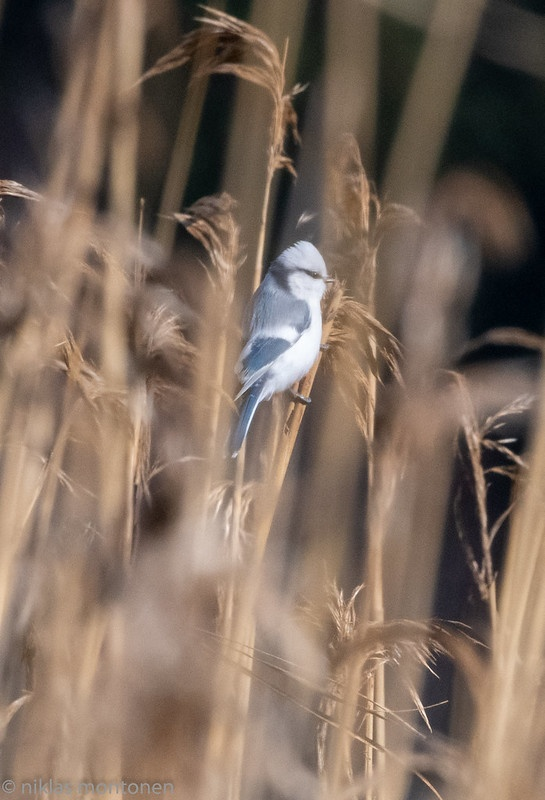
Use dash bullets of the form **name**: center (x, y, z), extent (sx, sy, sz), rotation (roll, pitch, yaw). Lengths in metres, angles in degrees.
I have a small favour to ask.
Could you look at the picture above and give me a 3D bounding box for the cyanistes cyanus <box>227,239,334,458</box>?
- **cyanistes cyanus**: center (0.008, -0.066, 1.448), extent (0.103, 0.276, 0.107), rotation (7, 24, -19)
